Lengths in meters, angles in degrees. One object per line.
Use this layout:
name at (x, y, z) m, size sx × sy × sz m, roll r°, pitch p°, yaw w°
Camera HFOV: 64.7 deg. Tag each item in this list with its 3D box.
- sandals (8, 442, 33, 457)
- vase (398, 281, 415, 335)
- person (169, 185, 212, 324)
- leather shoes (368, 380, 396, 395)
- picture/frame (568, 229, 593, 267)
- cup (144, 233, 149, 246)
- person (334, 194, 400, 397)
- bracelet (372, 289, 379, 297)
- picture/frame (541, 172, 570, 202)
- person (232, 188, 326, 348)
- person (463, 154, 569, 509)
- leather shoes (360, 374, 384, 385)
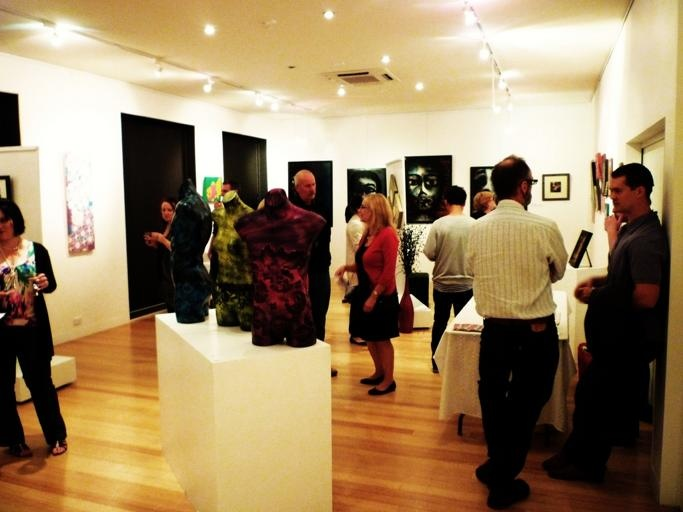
sandals at (-2.594, 1.536, 4.339) m, size 0.244 × 0.106 × 0.087 m, roll 0°, pitch -2°, yaw 30°
vase at (0.861, 0.685, 7.113) m, size 0.172 × 0.812 × 0.432 m, roll -1°, pitch 9°, yaw 4°
person at (-1.039, -0.039, 3.769) m, size 0.309 × 0.991 × 0.237 m, roll -2°, pitch 9°, yaw -7°
leather shoes at (0.413, 1.315, 5.381) m, size 0.283 × 0.121 × 0.108 m, roll 3°, pitch -8°, yaw -23°
picture/frame at (3.562, -0.129, 7.972) m, size 0.144 × 0.350 × 0.511 m, roll 28°, pitch 26°, yaw 5°
cup at (-2.572, -0.241, 7.102) m, size 0.064 × 0.191 × 0.142 m, roll 0°, pitch 24°, yaw -17°
person at (0.276, 0.377, 5.276) m, size 0.543 × 1.969 × 0.594 m, roll -1°, pitch 9°, yaw 4°
bracelet at (0.318, 0.337, 4.988) m, size 0.052 × 0.078 × 0.023 m, roll 0°, pitch -3°, yaw 17°
picture/frame at (4.068, -1.338, 10.149) m, size 0.495 × 0.551 × 0.037 m, roll -1°, pitch 7°, yaw 14°
person at (-0.369, 0.062, 3.288) m, size 0.552 × 0.943 × 0.258 m, roll -2°, pitch 9°, yaw -3°
person at (1.191, 0.482, 3.722) m, size 0.590 × 2.321 × 0.493 m, roll -4°, pitch 9°, yaw -19°
leather shoes at (0.319, 1.280, 5.621) m, size 0.251 × 0.109 × 0.090 m, roll 4°, pitch -5°, yaw 0°
